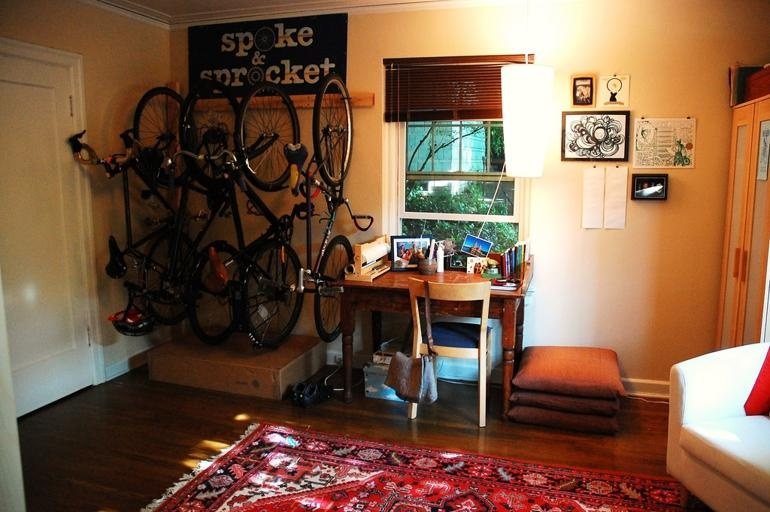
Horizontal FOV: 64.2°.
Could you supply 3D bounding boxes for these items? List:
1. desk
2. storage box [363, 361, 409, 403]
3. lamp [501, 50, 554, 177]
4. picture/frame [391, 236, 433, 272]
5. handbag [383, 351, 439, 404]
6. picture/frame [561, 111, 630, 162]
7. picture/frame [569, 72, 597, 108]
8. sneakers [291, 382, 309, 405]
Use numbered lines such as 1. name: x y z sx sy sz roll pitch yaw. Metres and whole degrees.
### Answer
1. desk: 0.533 0.415 5.334 1.518 1.120 1.215 2 4 18
2. storage box: -0.058 1.089 5.373 0.321 0.196 0.325 2 4 0
3. lamp: 1.128 -1.084 4.966 0.399 0.868 0.156 2 10 9
4. picture/frame: 0.223 -0.012 5.493 0.300 0.265 0.026 -1 1 -10
5. handbag: 0.204 0.969 4.871 0.463 0.382 0.222 3 -2 32
6. picture/frame: 1.810 -1.024 5.217 0.413 0.336 0.015 2 6 10
7. picture/frame: 1.681 -1.410 5.196 0.286 0.383 0.029 1 5 9
8. sneakers: -0.731 1.175 5.204 0.129 0.142 0.186 -2 10 -9
